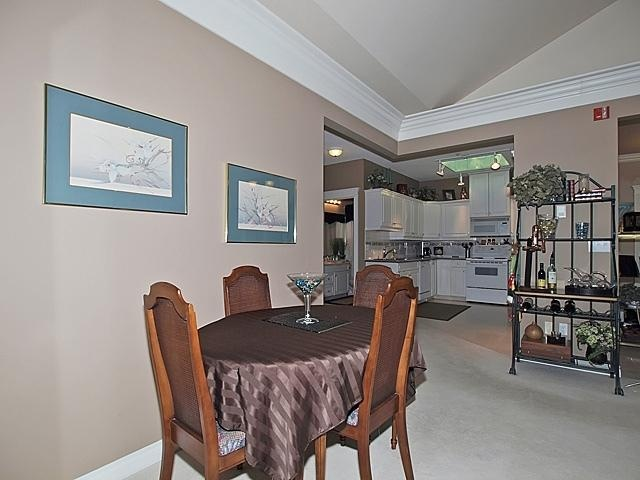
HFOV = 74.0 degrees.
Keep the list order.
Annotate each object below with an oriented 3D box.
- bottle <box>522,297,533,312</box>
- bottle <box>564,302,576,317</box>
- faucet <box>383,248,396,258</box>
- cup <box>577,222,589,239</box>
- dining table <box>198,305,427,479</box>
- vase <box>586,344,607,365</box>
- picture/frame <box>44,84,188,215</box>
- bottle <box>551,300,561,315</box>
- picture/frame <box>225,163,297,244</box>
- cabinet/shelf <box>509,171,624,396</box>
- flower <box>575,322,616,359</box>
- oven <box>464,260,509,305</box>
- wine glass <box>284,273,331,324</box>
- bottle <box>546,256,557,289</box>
[{"bbox_3d":[2.249,0.702,4.633,0.100,0.140,0.138,6,16,24],"label":"bottle"},{"bbox_3d":[2.602,0.690,4.397,0.113,0.140,0.246,1,0,31],"label":"bottle"},{"bbox_3d":[1.335,0.269,8.204,0.164,0.164,0.386,1,0,24],"label":"faucet"},{"bbox_3d":[2.683,-0.096,4.338,0.102,0.172,0.214,1,0,30],"label":"cup"},{"bbox_3d":[-0.185,0.849,2.552,1.031,0.630,1.177,-6,-6,40],"label":"dining table"},{"bbox_3d":[2.781,1.172,4.323,0.187,0.189,0.193,-6,6,-15],"label":"vase"},{"bbox_3d":[-1.496,-0.647,3.020,0.037,0.796,1.029,1,0,43],"label":"picture/frame"},{"bbox_3d":[2.498,0.712,4.457,0.107,0.127,0.110,12,-16,-2],"label":"bottle"},{"bbox_3d":[-0.579,-0.337,3.937,0.033,0.582,0.764,-3,-6,36],"label":"picture/frame"},{"bbox_3d":[2.595,0.338,4.523,1.003,2.293,0.607,2,0,40],"label":"cabinet/shelf"},{"bbox_3d":[2.805,0.969,4.359,0.311,0.401,0.390,-4,2,22],"label":"flower"},{"bbox_3d":[3.225,0.729,8.151,0.742,0.901,0.608,1,10,26],"label":"oven"},{"bbox_3d":[-0.093,0.429,3.199,0.325,0.376,0.337,0,-1,14],"label":"wine glass"},{"bbox_3d":[2.430,0.346,4.437,0.074,0.370,0.155,1,1,33],"label":"bottle"}]
